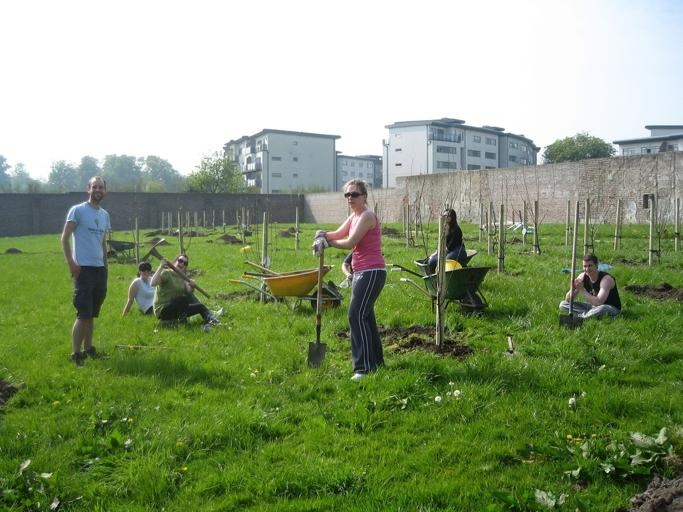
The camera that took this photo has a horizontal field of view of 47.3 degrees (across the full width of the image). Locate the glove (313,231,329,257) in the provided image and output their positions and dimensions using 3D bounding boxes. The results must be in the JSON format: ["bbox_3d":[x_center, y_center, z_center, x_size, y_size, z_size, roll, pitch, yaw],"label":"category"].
[{"bbox_3d":[-0.251,-0.190,10.363,0.131,0.342,0.188,19,-8,-37],"label":"glove"}]

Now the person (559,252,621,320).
[{"bbox_3d":[3.865,0.488,11.947,0.725,1.075,0.948,0,2,-7],"label":"person"}]

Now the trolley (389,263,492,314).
[{"bbox_3d":[1.506,0.531,12.388,1.692,0.788,0.743,-5,-1,44],"label":"trolley"}]

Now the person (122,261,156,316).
[{"bbox_3d":[-3.558,0.594,13.720,0.443,0.694,0.743,7,8,34],"label":"person"}]

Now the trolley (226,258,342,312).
[{"bbox_3d":[-0.870,0.543,13.139,1.748,1.032,0.884,-1,6,14],"label":"trolley"}]

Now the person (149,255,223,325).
[{"bbox_3d":[-2.476,0.592,12.560,0.976,1.487,0.804,-7,-24,-7],"label":"person"}]

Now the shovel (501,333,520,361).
[{"bbox_3d":[2.357,1.289,10.824,0.123,0.139,0.357,4,24,4],"label":"shovel"}]

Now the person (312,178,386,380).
[{"bbox_3d":[0.180,0.290,10.191,0.798,2.582,0.550,0,3,9],"label":"person"}]

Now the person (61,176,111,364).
[{"bbox_3d":[-3.471,0.172,10.637,0.656,2.525,0.505,-2,3,-31],"label":"person"}]

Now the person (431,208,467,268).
[{"bbox_3d":[1.790,-0.285,13.070,0.648,1.078,3.100,0,3,9],"label":"person"}]

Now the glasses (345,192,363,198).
[{"bbox_3d":[0.163,-0.795,10.107,0.283,0.103,0.115,1,3,21],"label":"glasses"}]
